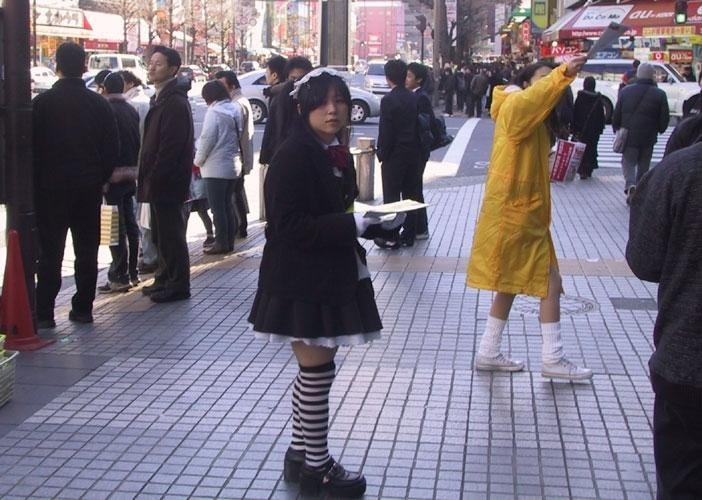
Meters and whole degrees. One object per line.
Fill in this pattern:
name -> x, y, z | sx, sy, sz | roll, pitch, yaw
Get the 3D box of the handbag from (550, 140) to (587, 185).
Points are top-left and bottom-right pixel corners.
handbag -> 4.232, -1.736, 11.417 | 0.270, 1.060, 1.046 | 15, 6, -4

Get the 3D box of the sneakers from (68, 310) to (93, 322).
sneakers -> -2.783, 0.686, 6.069 | 0.104, 0.124, 0.247 | 20, -19, -40

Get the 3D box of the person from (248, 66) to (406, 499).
person -> -0.187, 0.232, 3.205 | 0.739, 2.337, 0.423 | -3, 13, -11

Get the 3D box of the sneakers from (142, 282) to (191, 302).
sneakers -> -2.188, 0.493, 6.797 | 0.598, 0.173, 0.298 | 4, 14, 16

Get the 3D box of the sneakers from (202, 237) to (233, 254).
sneakers -> -2.024, -0.077, 8.712 | 0.391, 0.176, 0.210 | 8, 13, 39

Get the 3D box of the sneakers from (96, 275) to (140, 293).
sneakers -> -2.845, 0.401, 7.210 | 0.444, 0.220, 0.183 | -2, 5, -16

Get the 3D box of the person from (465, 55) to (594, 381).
person -> 1.361, -0.179, 4.576 | 0.826, 2.464, 0.749 | 6, 14, 27

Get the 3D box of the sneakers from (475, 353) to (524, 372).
sneakers -> 1.220, 0.955, 4.927 | 0.407, 0.175, 0.157 | 0, 4, -2

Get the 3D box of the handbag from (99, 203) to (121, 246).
handbag -> -2.521, -0.238, 6.133 | 0.179, 0.447, 0.247 | -1, 13, -1
